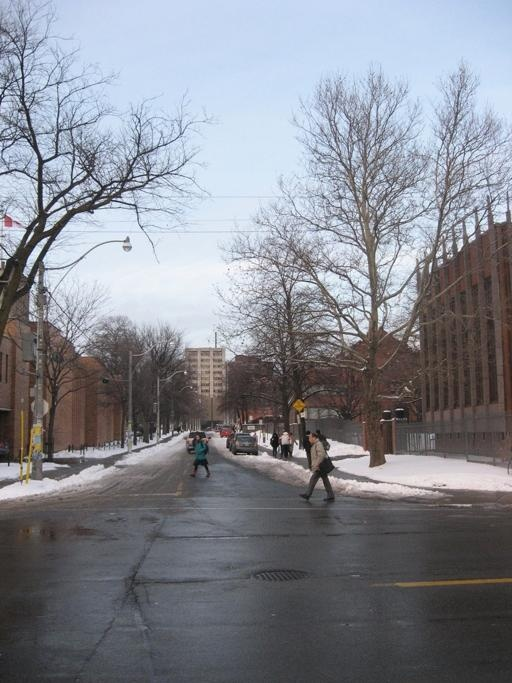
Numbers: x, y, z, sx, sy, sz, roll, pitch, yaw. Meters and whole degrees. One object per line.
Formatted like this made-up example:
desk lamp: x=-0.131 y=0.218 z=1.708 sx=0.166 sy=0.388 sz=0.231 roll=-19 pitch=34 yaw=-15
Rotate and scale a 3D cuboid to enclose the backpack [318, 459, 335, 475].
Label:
backpack: x=1.755 y=3.062 z=17.794 sx=0.289 sy=0.408 sz=0.698 roll=-5 pitch=-8 yaw=13
